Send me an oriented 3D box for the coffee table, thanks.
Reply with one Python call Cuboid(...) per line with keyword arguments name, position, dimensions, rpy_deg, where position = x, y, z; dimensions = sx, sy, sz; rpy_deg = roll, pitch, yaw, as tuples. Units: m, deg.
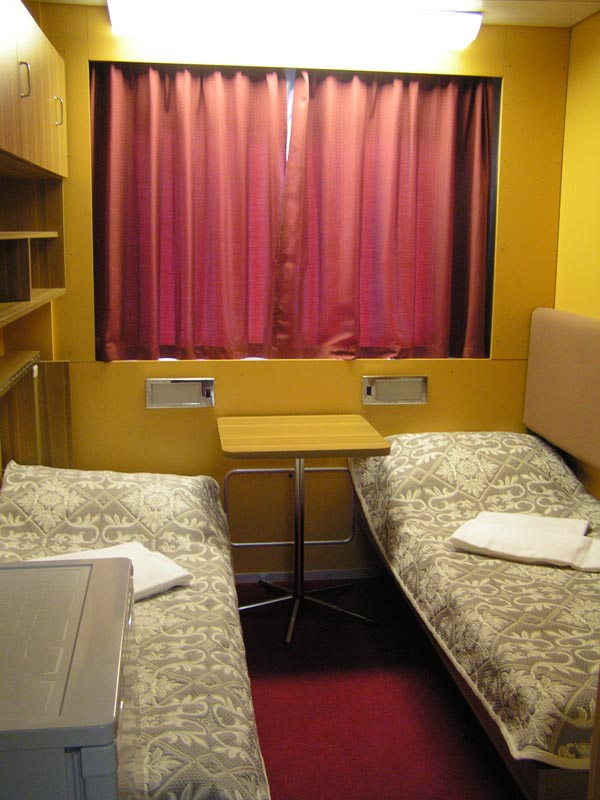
Cuboid(name="coffee table", position=(0.004, 0.524, 2.673), dimensions=(0.728, 1.048, 0.817), rpy_deg=(0, 12, -3))
